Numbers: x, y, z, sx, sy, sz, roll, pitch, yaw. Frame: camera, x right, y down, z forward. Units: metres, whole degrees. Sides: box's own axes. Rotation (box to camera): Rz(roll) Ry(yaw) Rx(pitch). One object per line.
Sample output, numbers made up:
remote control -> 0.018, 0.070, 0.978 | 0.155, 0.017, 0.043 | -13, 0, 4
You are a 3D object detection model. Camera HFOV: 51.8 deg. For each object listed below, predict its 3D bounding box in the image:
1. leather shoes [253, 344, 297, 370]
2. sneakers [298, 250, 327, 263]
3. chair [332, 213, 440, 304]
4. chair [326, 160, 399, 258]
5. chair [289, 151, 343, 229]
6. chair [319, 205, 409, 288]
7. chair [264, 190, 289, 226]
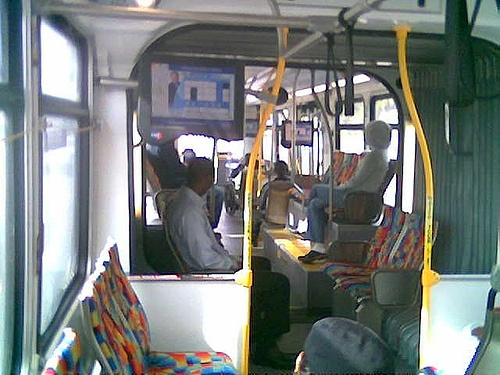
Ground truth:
leather shoes -> 0.162, 1.038, 3.217 | 0.197, 0.082, 0.160 | 2, 0, 1
sneakers -> 0.392, 0.431, 3.241 | 0.171, 0.082, 0.066 | 0, 0, -12
chair -> 0.802, 0.374, 3.249 | 0.493, 0.565, 0.590 | 6, 8, -11
chair -> 0.705, 0.199, 3.575 | 0.452, 0.810, 0.805 | 1, -1, 2
chair -> 0.398, 0.006, 3.469 | 0.389, 0.775, 0.399 | 2, 3, 2
chair -> 0.714, 0.334, 3.210 | 0.405, 0.544, 0.325 | 5, 4, -9
chair -> 0.183, 0.067, 3.188 | 0.149, 0.282, 0.153 | 0, 25, -1
